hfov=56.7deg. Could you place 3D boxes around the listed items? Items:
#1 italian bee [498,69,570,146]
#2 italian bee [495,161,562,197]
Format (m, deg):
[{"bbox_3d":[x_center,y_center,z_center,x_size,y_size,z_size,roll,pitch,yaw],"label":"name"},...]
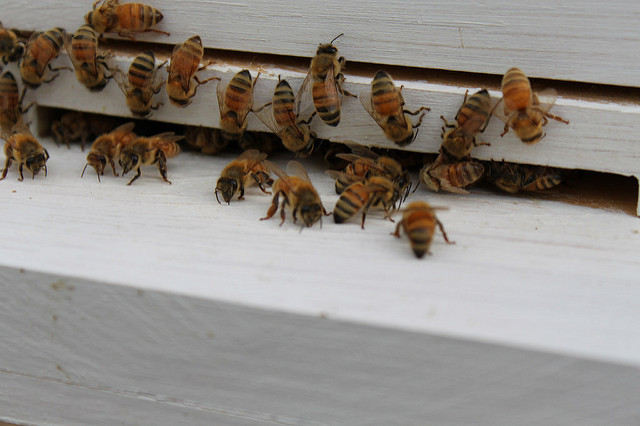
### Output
[{"bbox_3d":[1.219,-0.626,3.459,0.350,0.417,0.291,-10,32,-22],"label":"italian bee"},{"bbox_3d":[1.304,-0.217,3.735,0.375,0.208,0.091,5,55,1],"label":"italian bee"}]
